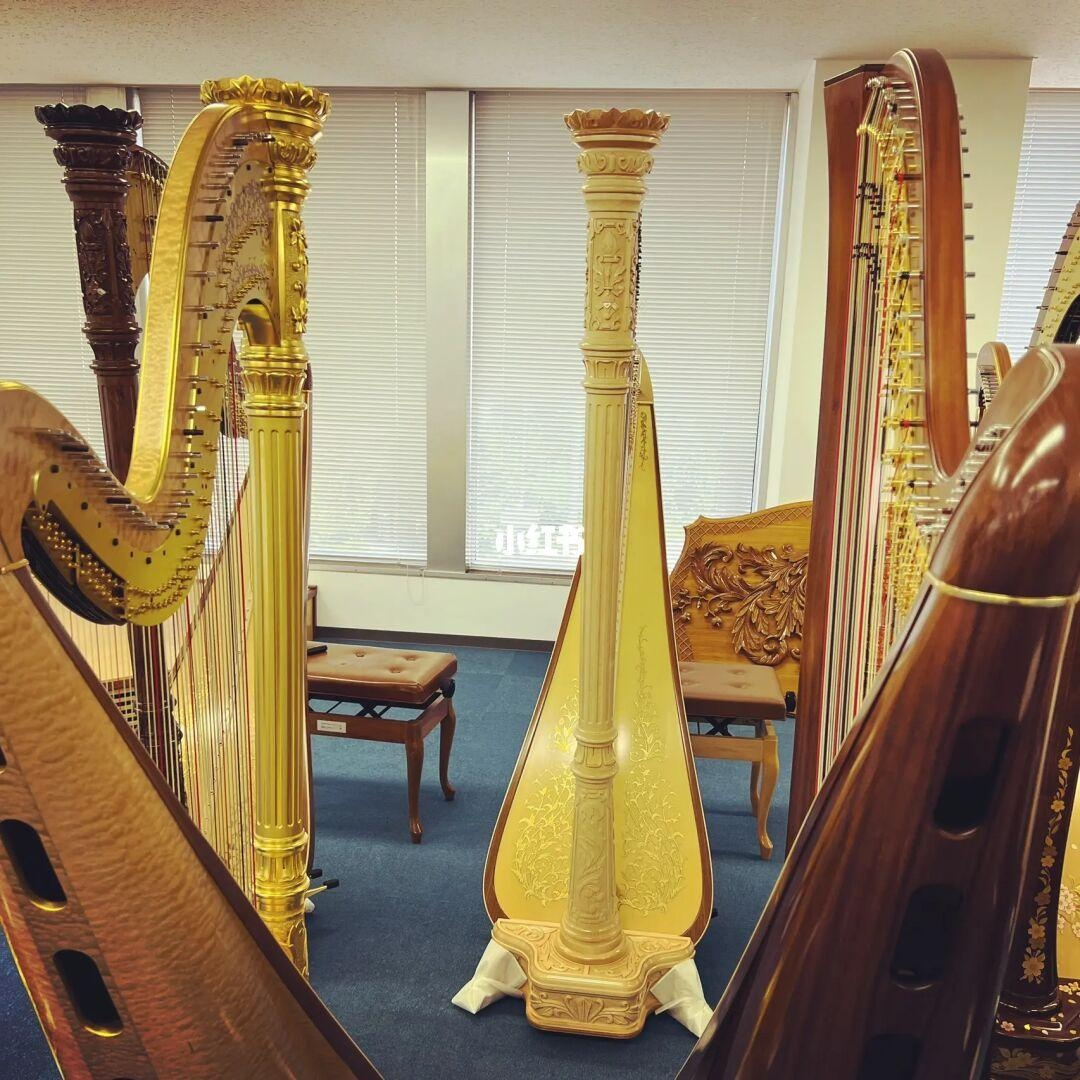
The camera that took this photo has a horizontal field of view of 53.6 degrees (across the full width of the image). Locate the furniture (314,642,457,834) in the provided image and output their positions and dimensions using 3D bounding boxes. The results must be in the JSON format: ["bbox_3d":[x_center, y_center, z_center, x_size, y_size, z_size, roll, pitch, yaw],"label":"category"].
[{"bbox_3d":[-0.573,0.591,3.264,0.587,0.461,0.459,3,3,6],"label":"furniture"}]
